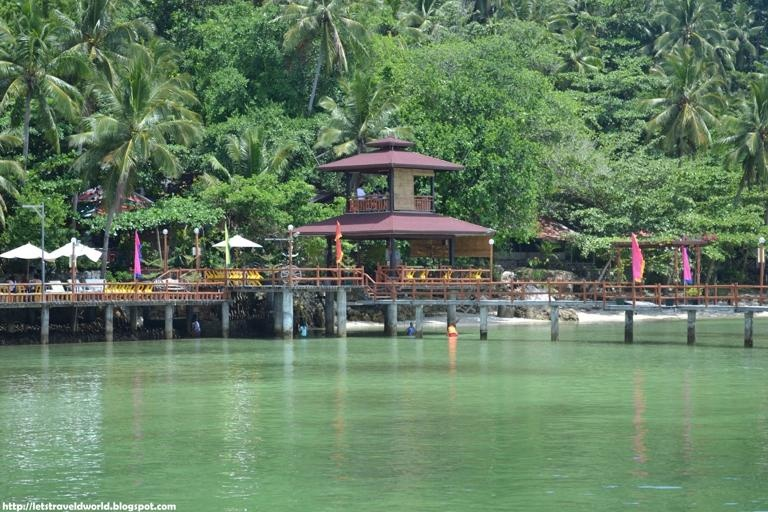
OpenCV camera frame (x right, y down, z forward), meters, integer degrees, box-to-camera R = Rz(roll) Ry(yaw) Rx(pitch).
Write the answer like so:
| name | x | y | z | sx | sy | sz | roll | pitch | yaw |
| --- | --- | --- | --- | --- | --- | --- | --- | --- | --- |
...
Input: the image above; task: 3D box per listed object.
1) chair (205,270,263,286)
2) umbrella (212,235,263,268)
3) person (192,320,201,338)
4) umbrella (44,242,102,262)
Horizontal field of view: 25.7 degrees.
| name | x | y | z | sx | sy | sz | roll | pitch | yaw |
| --- | --- | --- | --- | --- | --- | --- | --- | --- | --- |
| chair | -10.791 | 1.556 | 120.713 | 4.055 | 1.207 | 1.342 | -2 | -2 | 13 |
| umbrella | -10.361 | -0.120 | 122.278 | 2.749 | 2.006 | 2.727 | -1 | 2 | -29 |
| person | -13.784 | 5.350 | 123.446 | 0.599 | 1.210 | 1.329 | -1 | -2 | -6 |
| umbrella | -22.198 | -0.253 | 119.041 | 2.077 | 0.833 | 2.102 | -5 | -4 | 35 |
